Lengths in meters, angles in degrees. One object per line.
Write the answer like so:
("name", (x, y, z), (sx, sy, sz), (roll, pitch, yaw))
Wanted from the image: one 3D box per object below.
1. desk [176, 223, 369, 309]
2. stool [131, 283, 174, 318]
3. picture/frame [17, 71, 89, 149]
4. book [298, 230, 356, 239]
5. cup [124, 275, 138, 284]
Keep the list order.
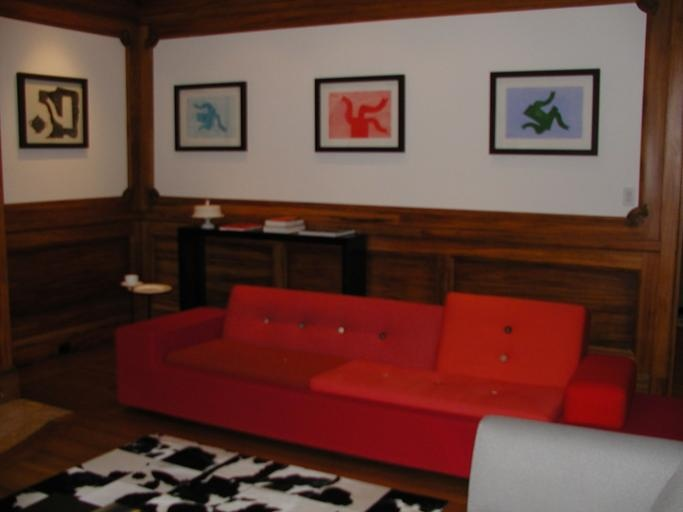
("desk", (-0.817, 0.351, 5.369), (2.127, 1.304, 0.563), (5, 10, 25))
("stool", (-1.854, 0.510, 4.946), (0.312, 0.350, 0.307), (13, -4, -11))
("picture/frame", (-2.806, -1.414, 5.058), (0.057, 0.668, 0.785), (13, 17, 16))
("book", (-0.138, -0.208, 4.961), (0.556, 0.064, 0.344), (0, 6, 1))
("cup", (-1.995, 0.230, 4.907), (0.109, 0.081, 0.074), (-1, 6, -12))
